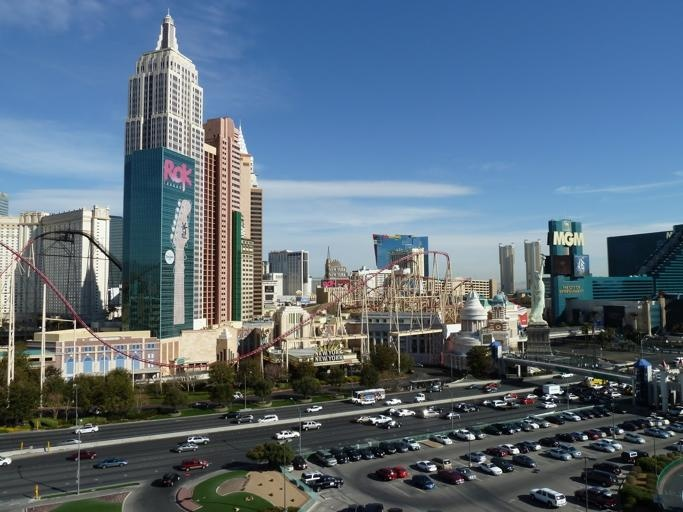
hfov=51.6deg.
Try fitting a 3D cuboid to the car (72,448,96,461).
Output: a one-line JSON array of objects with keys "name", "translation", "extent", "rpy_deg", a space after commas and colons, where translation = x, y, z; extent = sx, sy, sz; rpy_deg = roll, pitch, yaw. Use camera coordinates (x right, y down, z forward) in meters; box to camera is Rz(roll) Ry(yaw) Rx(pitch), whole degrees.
[{"name": "car", "translation": [-31.233, 24.138, 85.525], "extent": [2.663, 0.788, 3.147], "rpy_deg": [1, -6, -20]}]

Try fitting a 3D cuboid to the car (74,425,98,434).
[{"name": "car", "translation": [-33.677, 22.968, 93.678], "extent": [2.782, 0.913, 2.383], "rpy_deg": [0, -6, -11]}]
